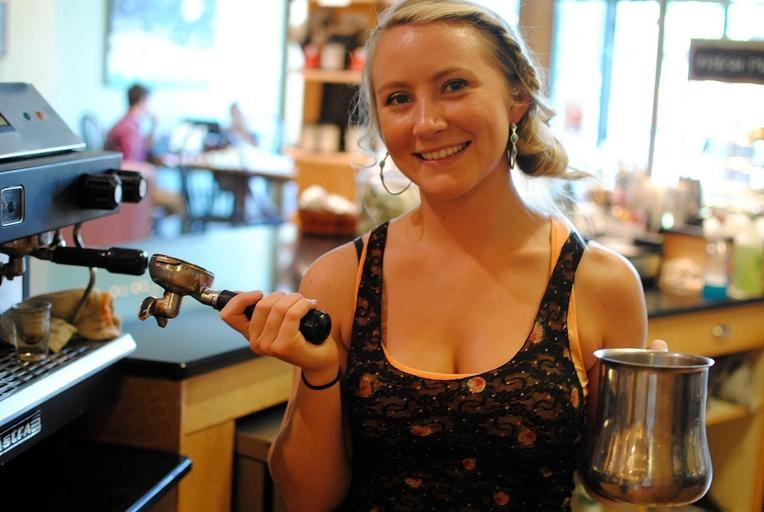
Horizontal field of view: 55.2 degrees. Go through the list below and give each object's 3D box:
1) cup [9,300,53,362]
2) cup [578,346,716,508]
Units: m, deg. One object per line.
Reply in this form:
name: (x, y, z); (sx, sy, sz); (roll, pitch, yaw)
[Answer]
cup: (-0.761, 0.167, 1.586); (0.082, 0.119, 0.077); (-2, 4, 0)
cup: (0.506, 0.349, 1.624); (0.319, 0.333, 0.314); (2, -4, 0)
